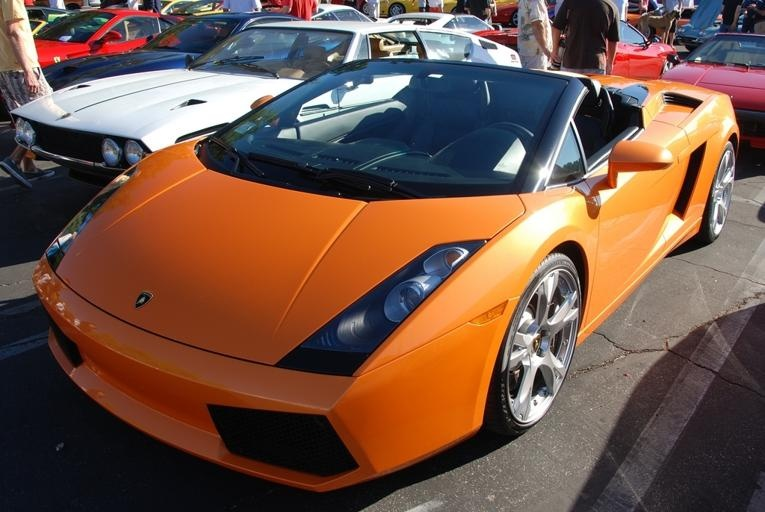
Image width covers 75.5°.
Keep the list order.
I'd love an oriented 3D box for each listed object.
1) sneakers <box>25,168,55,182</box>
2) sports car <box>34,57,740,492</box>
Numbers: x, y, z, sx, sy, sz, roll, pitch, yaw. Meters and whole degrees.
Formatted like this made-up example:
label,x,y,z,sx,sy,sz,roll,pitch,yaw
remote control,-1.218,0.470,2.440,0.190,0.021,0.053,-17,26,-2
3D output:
label,x,y,z,sx,sy,sz,roll,pitch,yaw
sneakers,-3.782,-0.915,5.521,0.306,0.109,0.100,-19,25,-34
sports car,0.344,-0.635,4.206,3.293,1.538,5.471,14,28,30
